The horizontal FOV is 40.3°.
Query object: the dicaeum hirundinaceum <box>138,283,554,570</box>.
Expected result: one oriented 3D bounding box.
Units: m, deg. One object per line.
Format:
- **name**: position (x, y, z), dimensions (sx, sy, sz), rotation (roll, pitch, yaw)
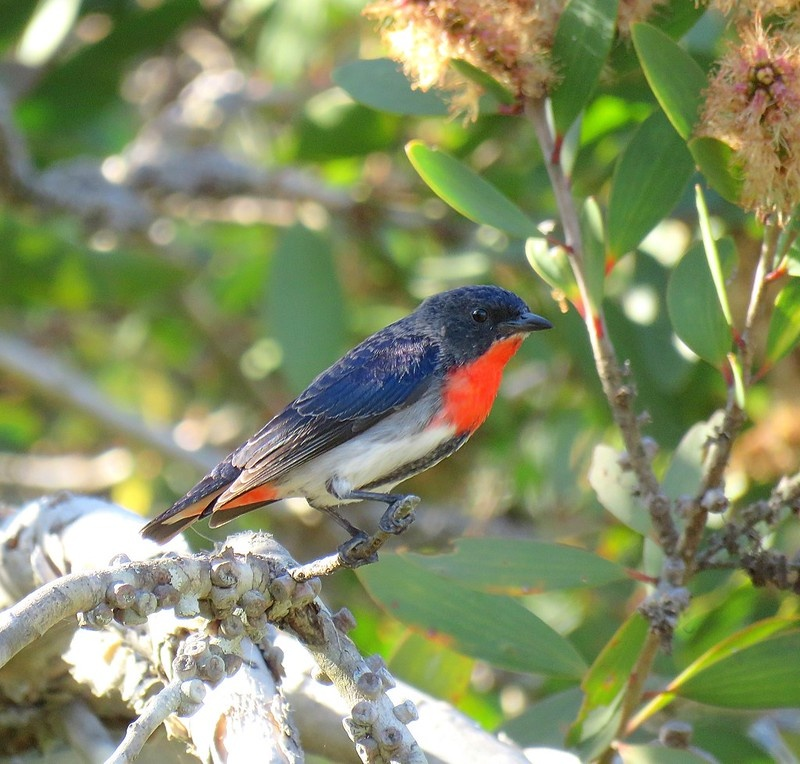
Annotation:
- **dicaeum hirundinaceum**: position (-0.411, 0.097, 3.750), dimensions (1.791, 0.607, 1.084), rotation (-5, 85, 1)
